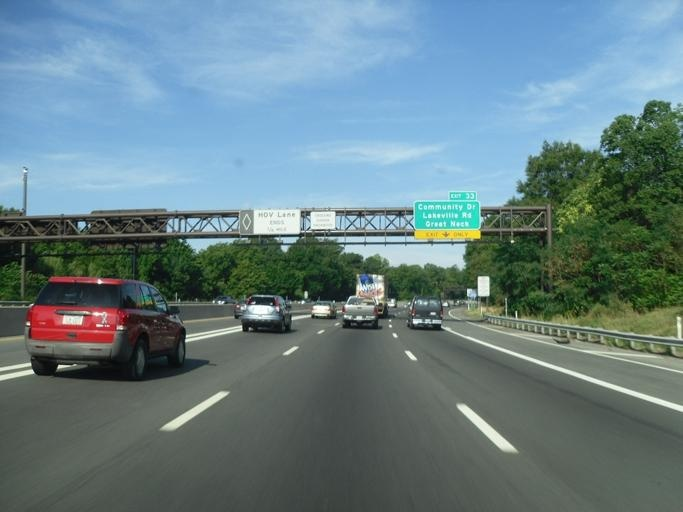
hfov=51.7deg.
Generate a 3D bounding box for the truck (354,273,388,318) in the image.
[{"bbox_3d":[2.132,3.219,51.122,2.428,4.733,3.087,0,22,1],"label":"truck"}]

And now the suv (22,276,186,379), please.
[{"bbox_3d":[-4.770,1.423,14.917,1.593,1.584,3.283,-1,-2,15],"label":"suv"}]
